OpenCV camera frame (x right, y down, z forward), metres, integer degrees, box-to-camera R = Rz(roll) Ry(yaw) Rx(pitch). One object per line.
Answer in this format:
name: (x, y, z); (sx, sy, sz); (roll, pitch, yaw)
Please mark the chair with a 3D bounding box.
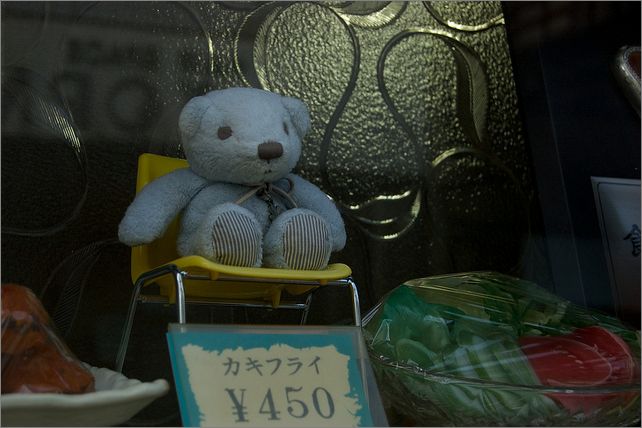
chair: (-0.166, 0.174, 1.976); (0.787, 0.899, 0.697); (11, -29, -25)
